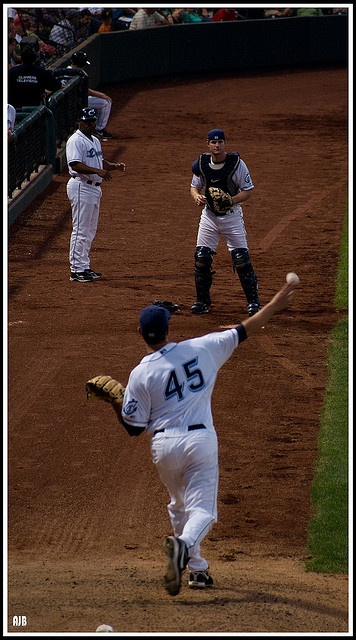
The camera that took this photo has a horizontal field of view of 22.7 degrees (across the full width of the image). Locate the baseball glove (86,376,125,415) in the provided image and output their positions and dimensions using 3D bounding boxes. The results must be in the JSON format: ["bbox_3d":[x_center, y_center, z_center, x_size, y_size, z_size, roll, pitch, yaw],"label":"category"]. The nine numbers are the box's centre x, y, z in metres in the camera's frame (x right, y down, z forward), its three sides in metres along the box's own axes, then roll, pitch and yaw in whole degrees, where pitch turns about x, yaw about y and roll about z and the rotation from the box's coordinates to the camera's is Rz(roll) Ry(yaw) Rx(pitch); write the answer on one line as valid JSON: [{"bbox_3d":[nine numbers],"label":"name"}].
[{"bbox_3d":[-0.443,0.450,5.548,0.236,0.173,0.115,19,-12,1],"label":"baseball glove"}]

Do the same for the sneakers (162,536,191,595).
[{"bbox_3d":[0.002,1.269,4.642,0.140,0.317,0.108,5,-7,-41],"label":"sneakers"}]

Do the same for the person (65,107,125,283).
[{"bbox_3d":[-1.023,-1.445,10.292,0.530,1.993,0.738,0,14,-5],"label":"person"}]

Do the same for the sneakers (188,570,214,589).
[{"bbox_3d":[0.129,1.587,5.392,0.073,0.084,0.186,1,3,14],"label":"sneakers"}]

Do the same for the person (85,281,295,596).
[{"bbox_3d":[0.001,0.854,5.147,1.119,1.974,1.194,3,14,6],"label":"person"}]

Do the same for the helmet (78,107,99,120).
[{"bbox_3d":[-1.028,-2.336,10.053,0.184,0.142,0.348,0,13,-8],"label":"helmet"}]

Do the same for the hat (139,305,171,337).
[{"bbox_3d":[-0.142,-0.001,5.152,0.126,0.107,0.191,0,39,7],"label":"hat"}]

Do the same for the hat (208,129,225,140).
[{"bbox_3d":[0.382,-1.838,8.934,0.146,0.118,0.150,-2,37,8],"label":"hat"}]

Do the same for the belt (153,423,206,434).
[{"bbox_3d":[0.006,0.634,5.096,0.298,0.084,0.067,3,13,7],"label":"belt"}]

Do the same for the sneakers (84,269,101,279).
[{"bbox_3d":[-1.006,-0.559,10.487,0.203,0.089,0.077,12,12,-4],"label":"sneakers"}]

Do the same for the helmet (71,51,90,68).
[{"bbox_3d":[-1.631,-4.332,14.648,0.235,0.228,0.538,-1,13,-9],"label":"helmet"}]

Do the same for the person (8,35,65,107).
[{"bbox_3d":[-2.092,-3.503,12.705,0.673,0.895,0.868,-5,15,-27],"label":"person"}]

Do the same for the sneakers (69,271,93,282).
[{"bbox_3d":[-1.142,-0.515,10.398,0.235,0.106,0.101,0,17,7],"label":"sneakers"}]

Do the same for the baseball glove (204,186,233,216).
[{"bbox_3d":[0.405,-1.226,9.019,0.218,0.299,0.128,-28,8,43],"label":"baseball glove"}]

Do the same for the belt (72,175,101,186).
[{"bbox_3d":[-1.016,-1.601,10.181,0.174,0.063,0.155,19,1,-12],"label":"belt"}]

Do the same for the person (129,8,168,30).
[{"bbox_3d":[-0.802,-7.390,21.697,0.521,0.581,1.399,8,14,24],"label":"person"}]
